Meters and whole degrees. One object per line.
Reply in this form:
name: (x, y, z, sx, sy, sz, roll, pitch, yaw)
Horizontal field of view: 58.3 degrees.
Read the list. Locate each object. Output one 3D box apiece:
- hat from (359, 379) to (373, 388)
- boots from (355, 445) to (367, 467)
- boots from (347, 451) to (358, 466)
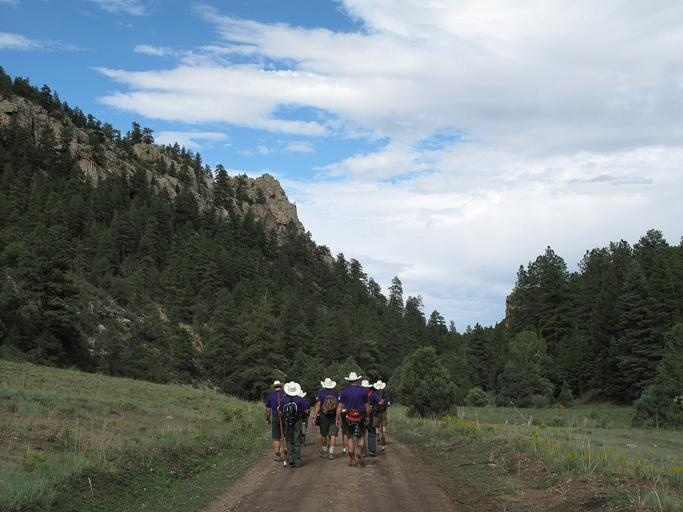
hat: (1.344, 7.077, 34.027, 0.671, 0.318, 0.827, 6, -7, 3)
boots: (1.051, 10.977, 33.211, 0.263, 0.423, 0.903, -7, 16, -10)
boots: (0.620, 10.725, 32.537, 0.338, 0.810, 0.773, 0, -1, 10)
